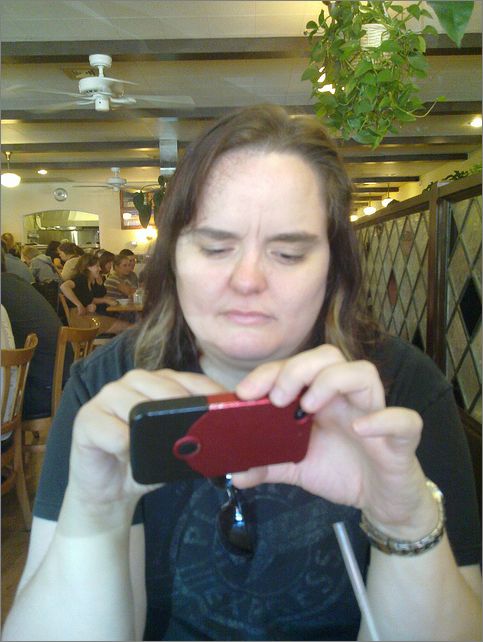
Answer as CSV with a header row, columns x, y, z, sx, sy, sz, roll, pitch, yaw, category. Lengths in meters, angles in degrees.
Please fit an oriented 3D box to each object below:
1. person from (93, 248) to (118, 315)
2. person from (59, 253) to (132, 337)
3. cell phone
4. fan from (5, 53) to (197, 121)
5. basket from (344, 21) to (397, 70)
x,y,z,sx,sy,sz,roll,pitch,yaw,category
-1.865,-0.514,7.083,0.346,0.299,1.018,3,-19,-15,person
-1.823,-0.155,6.479,0.843,1.313,0.540,4,14,-15,person
-0.027,0.118,0.566,0.191,0.090,0.038,-4,23,-19,cell phone
-1.376,-2.384,5.241,0.915,0.357,1.029,-2,12,3,fan
0.289,-0.618,1.177,0.075,0.087,0.094,-1,7,2,basket
